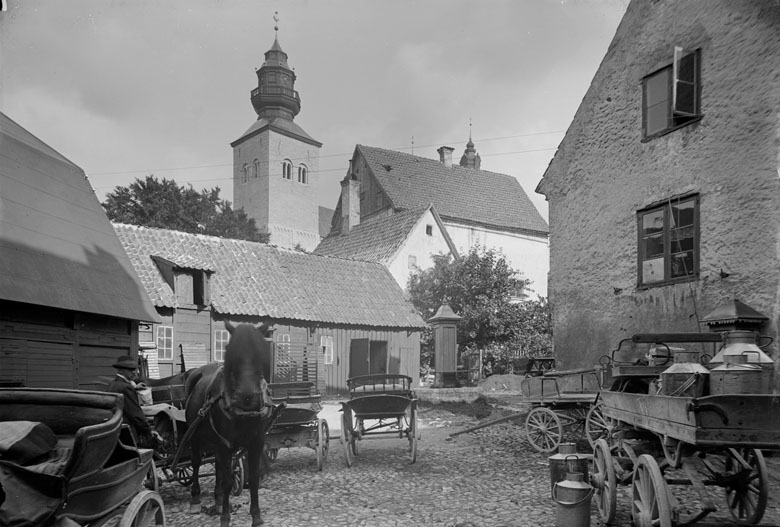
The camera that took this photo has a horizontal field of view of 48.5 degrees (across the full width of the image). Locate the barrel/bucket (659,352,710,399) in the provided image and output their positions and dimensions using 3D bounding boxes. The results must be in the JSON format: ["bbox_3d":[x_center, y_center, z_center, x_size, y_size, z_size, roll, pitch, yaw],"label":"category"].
[{"bbox_3d":[6.253,2.299,18.302,1.127,0.959,1.213,0,0,0],"label":"barrel/bucket"}]

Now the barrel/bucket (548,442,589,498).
[{"bbox_3d":[3.847,4.603,18.598,0.848,1.438,1.024,-2,-14,-6],"label":"barrel/bucket"}]

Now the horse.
[{"bbox_3d":[-3.602,3.482,18.939,1.508,4.353,2.553,5,-12,-29],"label":"horse"}]

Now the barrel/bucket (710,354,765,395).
[{"bbox_3d":[7.091,2.338,17.876,0.917,0.877,0.942,-1,-5,0],"label":"barrel/bucket"}]

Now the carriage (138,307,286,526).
[{"bbox_3d":[-4.221,3.300,18.684,1.502,3.854,5.454,3,-21,-20],"label":"carriage"}]
